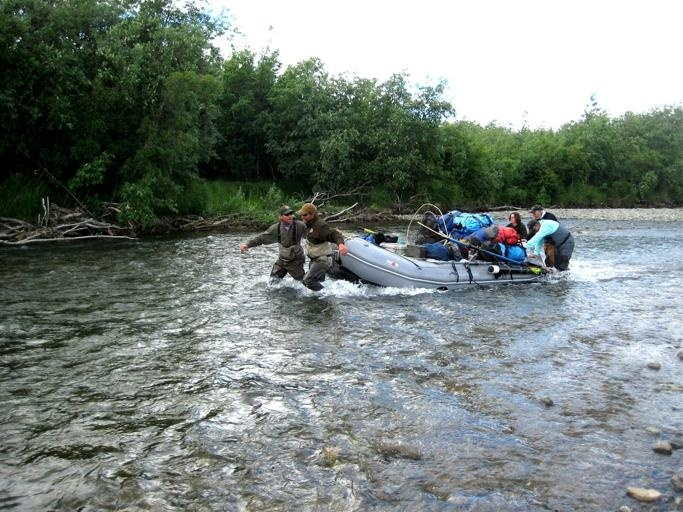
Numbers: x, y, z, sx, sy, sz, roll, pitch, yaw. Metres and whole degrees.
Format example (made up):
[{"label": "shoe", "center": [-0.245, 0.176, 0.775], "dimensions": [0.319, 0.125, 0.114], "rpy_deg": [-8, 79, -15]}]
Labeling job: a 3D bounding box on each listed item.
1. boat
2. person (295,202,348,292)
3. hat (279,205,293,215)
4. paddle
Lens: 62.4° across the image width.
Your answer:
[{"label": "boat", "center": [2.531, 0.218, 14.496], "dimensions": [4.515, 0.620, 1.826], "rpy_deg": [2, 2, -20]}, {"label": "person", "center": [-0.486, -0.204, 13.499], "dimensions": [0.958, 2.073, 0.782], "rpy_deg": [-3, 7, -4]}, {"label": "hat", "center": [-1.308, -1.064, 13.207], "dimensions": [0.277, 0.140, 0.329], "rpy_deg": [-2, -5, -24]}, {"label": "paddle", "center": [4.228, 0.001, 15.218], "dimensions": [2.632, 0.567, 1.052], "rpy_deg": [10, 15, -16]}]
